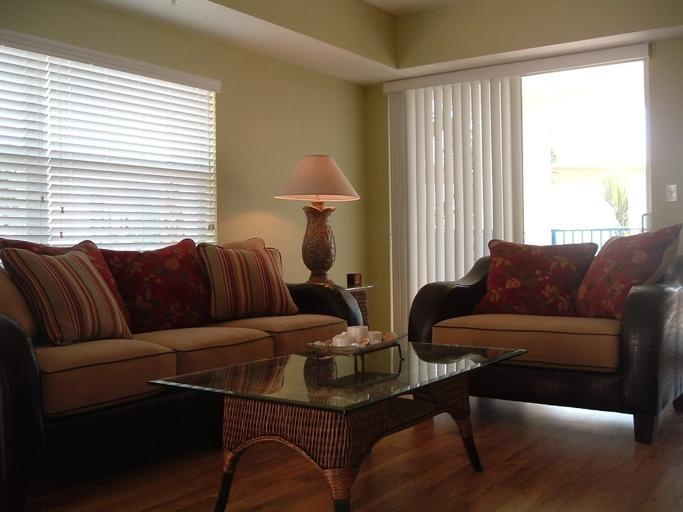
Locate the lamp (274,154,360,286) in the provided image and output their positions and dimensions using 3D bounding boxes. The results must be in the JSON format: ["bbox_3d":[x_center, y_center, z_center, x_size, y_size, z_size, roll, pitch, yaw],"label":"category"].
[{"bbox_3d":[-0.171,-0.270,4.098,0.713,0.923,0.666,1,-1,-22],"label":"lamp"}]
